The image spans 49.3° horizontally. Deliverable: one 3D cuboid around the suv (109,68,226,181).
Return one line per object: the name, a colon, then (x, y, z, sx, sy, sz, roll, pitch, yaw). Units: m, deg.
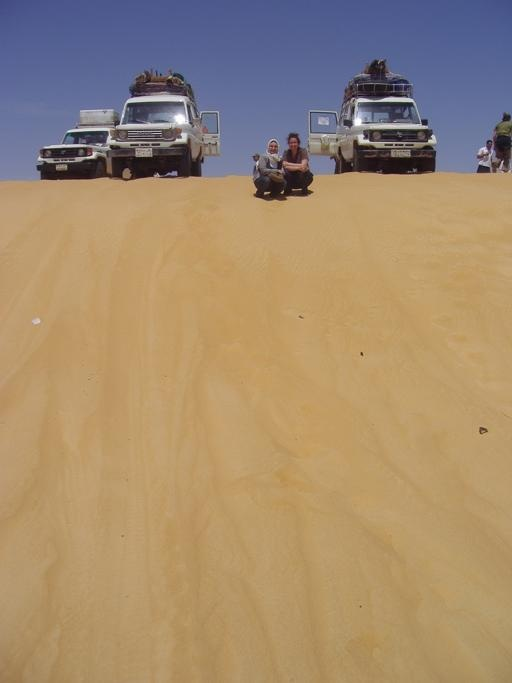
suv: (-2.105, -4.796, 12.348, 1.819, 2.223, 2.662, 2, 21, 8)

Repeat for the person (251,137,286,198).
person: (0.244, -2.934, 9.527, 0.562, 0.926, 0.451, -1, 17, -1)

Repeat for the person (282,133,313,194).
person: (0.684, -3.134, 9.824, 0.471, 1.072, 0.616, -10, 15, -8)

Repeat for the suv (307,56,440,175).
suv: (2.750, -5.203, 13.066, 2.173, 2.592, 2.729, -3, 20, -6)
